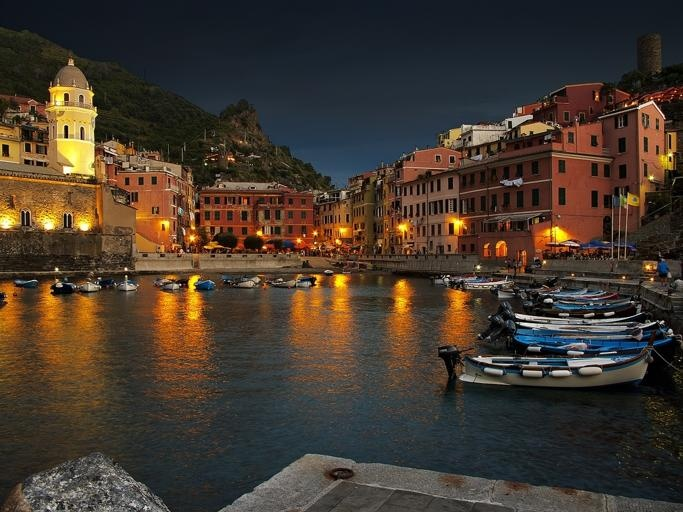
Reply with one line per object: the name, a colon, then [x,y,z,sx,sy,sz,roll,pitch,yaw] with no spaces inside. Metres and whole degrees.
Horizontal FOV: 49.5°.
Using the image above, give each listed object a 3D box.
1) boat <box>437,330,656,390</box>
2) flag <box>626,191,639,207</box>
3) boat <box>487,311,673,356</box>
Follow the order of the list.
boat: [9.038,4.903,33.042,8.568,1.900,1.641,1,7,9]
flag: [25.666,-5.082,66.257,0.252,1.647,3.242,1,2,44]
boat: [11.846,3.973,37.322,8.680,1.524,2.576,0,5,19]
